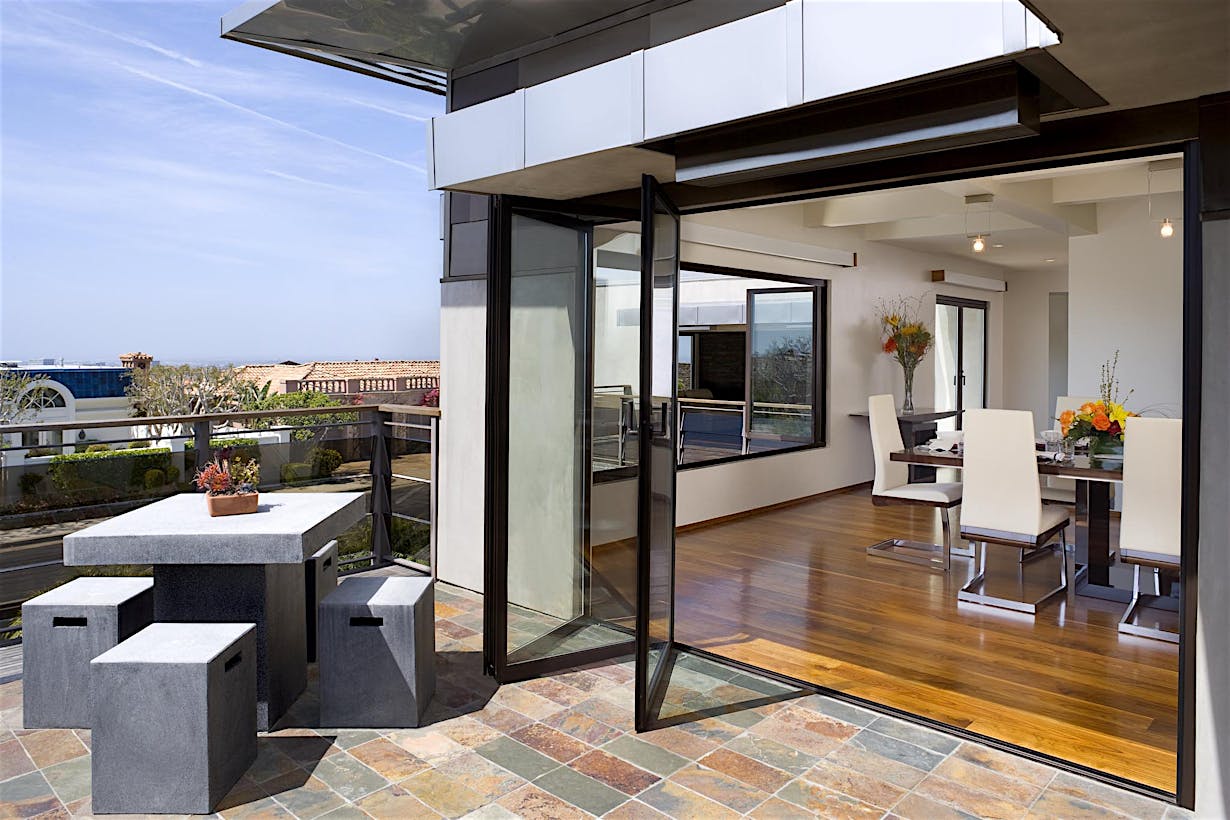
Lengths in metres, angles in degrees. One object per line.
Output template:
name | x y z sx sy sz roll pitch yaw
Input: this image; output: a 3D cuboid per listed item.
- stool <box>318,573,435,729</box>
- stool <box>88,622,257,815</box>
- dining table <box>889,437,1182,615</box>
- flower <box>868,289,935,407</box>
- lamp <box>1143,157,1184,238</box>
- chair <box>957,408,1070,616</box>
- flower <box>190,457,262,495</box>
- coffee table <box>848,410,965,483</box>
stool | -1.367 1.301 4.883 0.662 0.866 0.910 -1 0 7
stool | -2.138 1.463 4.352 0.715 0.916 0.976 -1 -1 5
dining table | 3.518 0.769 6.431 1.382 0.775 1.414 1 4 44
flower | 3.565 -0.712 10.244 0.554 1.328 1.109 8 14 35
lamp | 5.072 -1.932 7.779 0.308 0.642 1.902 7 13 32
chair | 3.068 0.660 6.347 0.840 1.457 1.450 6 13 28
flower | -2.172 0.375 4.678 0.287 0.173 0.249 -3 12 -16
coffee table | 3.509 0.294 9.997 0.900 1.245 1.377 -3 -1 39
